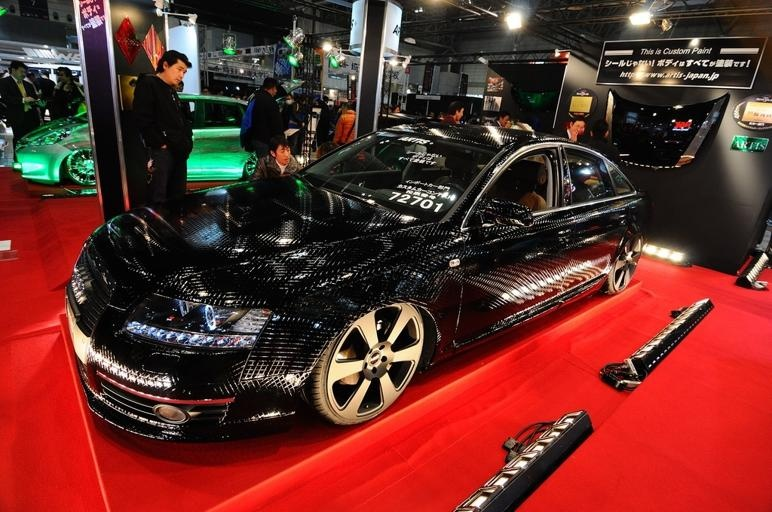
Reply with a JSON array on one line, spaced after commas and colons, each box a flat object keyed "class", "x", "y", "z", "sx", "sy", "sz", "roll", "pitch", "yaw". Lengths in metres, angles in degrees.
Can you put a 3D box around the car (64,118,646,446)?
[{"class": "car", "x": 0.352, "y": -0.192, "z": 3.984, "sx": 5.308, "sy": 1.965, "sz": 1.912, "roll": -11, "pitch": 26, "yaw": -38}]
